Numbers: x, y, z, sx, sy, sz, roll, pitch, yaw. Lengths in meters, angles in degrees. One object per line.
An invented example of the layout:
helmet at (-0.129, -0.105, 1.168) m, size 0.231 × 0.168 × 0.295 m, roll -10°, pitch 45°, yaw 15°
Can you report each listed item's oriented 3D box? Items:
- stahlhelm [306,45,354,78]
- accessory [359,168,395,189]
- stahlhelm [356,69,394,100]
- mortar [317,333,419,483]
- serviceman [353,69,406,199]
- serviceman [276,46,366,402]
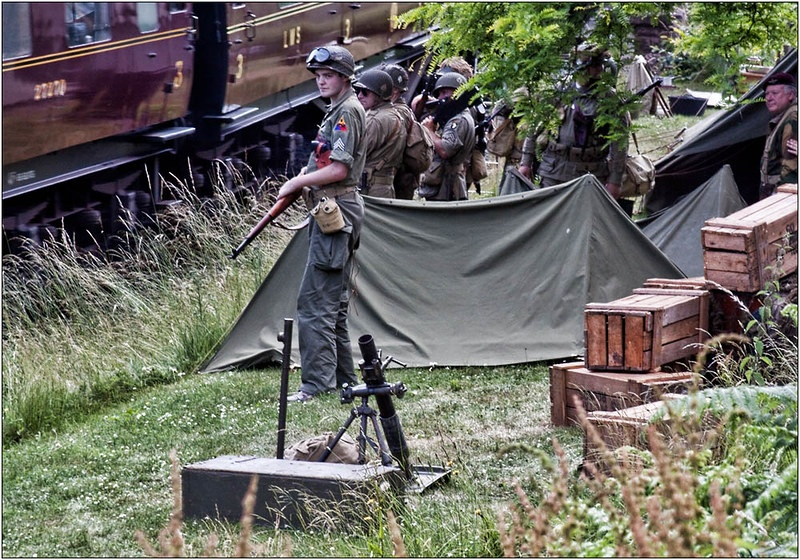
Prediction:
stahlhelm at (-0.565, -1.843, 7.701) m, size 0.295 × 0.189 × 0.292 m, roll 0°, pitch 2°, yaw -38°
accessory at (-0.213, -0.988, 9.272) m, size 0.285 × 0.135 × 0.215 m, roll 0°, pitch 4°, yaw -6°
stahlhelm at (-0.237, -1.830, 8.758) m, size 0.313 × 0.247 × 0.243 m, roll -1°, pitch 23°, yaw -16°
mortar at (-0.194, 0.794, 5.777) m, size 0.543 × 0.842 × 0.603 m, roll 0°, pitch -1°, yaw 6°
serviceman at (-0.175, -1.415, 9.125) m, size 0.525 × 1.236 × 0.543 m, roll 5°, pitch 23°, yaw -3°
serviceman at (-0.650, -0.526, 7.970) m, size 0.713 × 2.855 × 0.919 m, roll 2°, pitch 6°, yaw 3°
